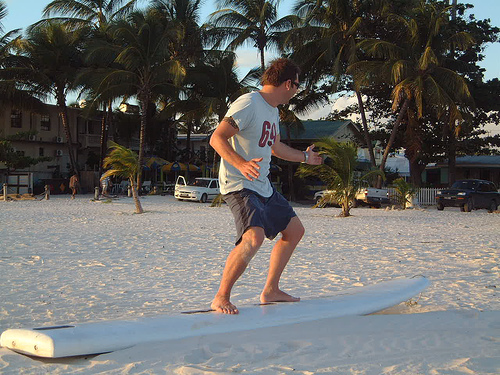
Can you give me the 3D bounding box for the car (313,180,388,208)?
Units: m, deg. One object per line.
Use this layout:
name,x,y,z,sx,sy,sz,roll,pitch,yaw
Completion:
car,4.184,0.514,23.407,2.811,1.341,1.440,2,3,18

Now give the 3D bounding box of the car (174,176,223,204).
car,-2.276,0.121,27.374,1.749,0.961,2.289,0,-3,30

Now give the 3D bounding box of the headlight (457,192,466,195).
headlight,8.248,0.251,21.950,0.299,0.102,0.091,1,-1,12

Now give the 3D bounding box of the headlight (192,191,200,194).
headlight,-2.512,0.258,26.518,0.297,0.116,0.055,2,-1,-9
